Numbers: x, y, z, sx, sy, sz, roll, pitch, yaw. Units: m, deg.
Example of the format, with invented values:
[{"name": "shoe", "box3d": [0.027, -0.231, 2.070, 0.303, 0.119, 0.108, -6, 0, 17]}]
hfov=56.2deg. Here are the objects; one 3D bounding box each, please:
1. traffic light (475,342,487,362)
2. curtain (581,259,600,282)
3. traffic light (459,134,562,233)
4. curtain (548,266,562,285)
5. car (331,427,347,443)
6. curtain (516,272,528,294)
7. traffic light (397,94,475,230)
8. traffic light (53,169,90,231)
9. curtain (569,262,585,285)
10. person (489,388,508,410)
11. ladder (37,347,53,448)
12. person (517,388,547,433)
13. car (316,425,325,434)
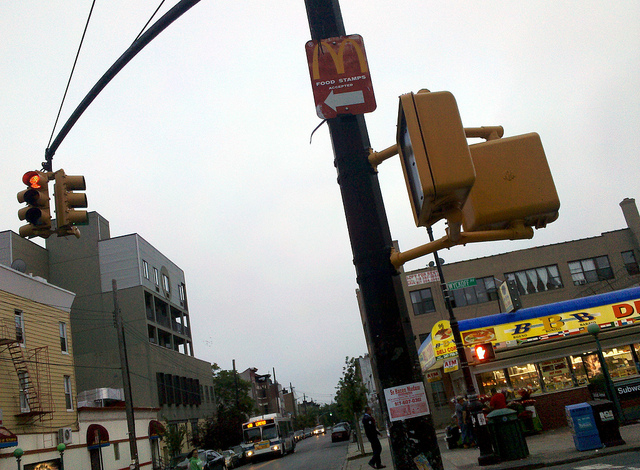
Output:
[{"name": "traffic light", "box3d": [5.819, 4.235, 21.671, 0.124, 0.577, 0.532, 5, -4, -28]}, {"name": "curtain", "box3d": [20.391, 2.739, 45.371, 1.082, 2.340, 0.158, -13, -18, 2]}, {"name": "traffic light", "box3d": [2.502, -0.696, 8.040, 1.009, 1.118, 0.355, -14, -8, -3]}, {"name": "curtain", "box3d": [17.711, 3.052, 45.273, 0.673, 1.470, 0.137, -7, -18, -11]}, {"name": "car", "box3d": [1.647, 17.790, 53.253, 1.411, 1.231, 1.856, -11, -19, -2]}, {"name": "curtain", "box3d": [15.343, 3.575, 45.292, 0.421, 1.740, 0.227, -11, -14, 14]}, {"name": "traffic light", "box3d": [1.510, -0.990, 7.734, 0.807, 1.792, 1.211, -11, -16, -3]}, {"name": "traffic light", "box3d": [-5.036, -0.736, 12.041, 0.606, 1.240, 0.388, -2, -20, -25]}, {"name": "curtain", "box3d": [19.333, 2.965, 45.283, 1.278, 1.562, 0.030, -14, -13, 1]}, {"name": "person", "box3d": [6.037, 5.621, 20.576, 0.499, 0.663, 1.092, -15, -19, 12]}, {"name": "ladder", "box3d": [-13.578, 7.947, 29.456, 0.324, 4.843, 1.030, -11, -18, 3]}, {"name": "person", "box3d": [8.235, 6.675, 23.818, 1.111, 1.338, 2.581, -8, -46, 13]}, {"name": "car", "box3d": [-0.129, 31.523, 96.330, 1.295, 1.182, 2.257, -2, -8, 0]}]
